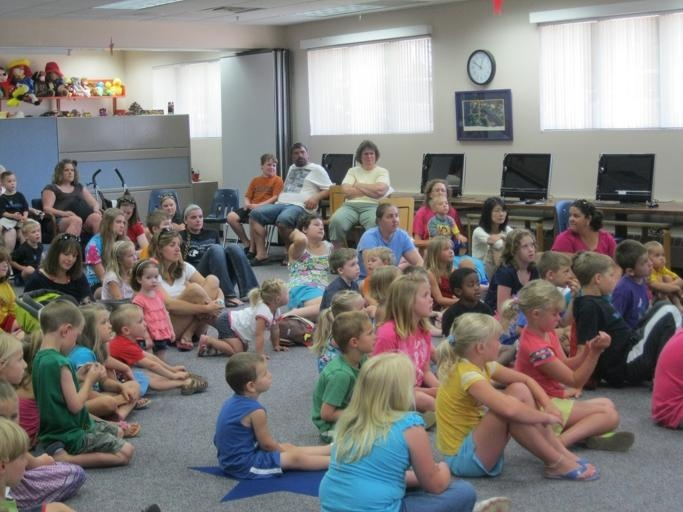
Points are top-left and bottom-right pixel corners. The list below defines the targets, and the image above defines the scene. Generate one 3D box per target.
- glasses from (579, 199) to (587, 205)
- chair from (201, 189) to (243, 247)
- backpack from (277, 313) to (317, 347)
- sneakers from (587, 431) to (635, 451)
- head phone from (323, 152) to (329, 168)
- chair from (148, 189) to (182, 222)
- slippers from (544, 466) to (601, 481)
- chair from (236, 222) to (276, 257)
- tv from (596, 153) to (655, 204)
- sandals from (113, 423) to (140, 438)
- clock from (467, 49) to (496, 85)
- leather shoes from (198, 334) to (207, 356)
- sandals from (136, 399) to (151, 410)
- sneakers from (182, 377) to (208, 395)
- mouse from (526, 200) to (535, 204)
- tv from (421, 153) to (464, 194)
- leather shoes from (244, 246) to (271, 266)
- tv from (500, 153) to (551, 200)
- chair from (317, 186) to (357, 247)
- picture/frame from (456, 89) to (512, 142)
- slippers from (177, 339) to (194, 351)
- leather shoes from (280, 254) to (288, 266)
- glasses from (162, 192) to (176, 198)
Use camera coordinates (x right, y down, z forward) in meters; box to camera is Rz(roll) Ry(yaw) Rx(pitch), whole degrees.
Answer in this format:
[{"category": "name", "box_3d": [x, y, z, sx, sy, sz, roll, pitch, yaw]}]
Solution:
[{"category": "glasses", "box_3d": [2.043, -0.456, 5.680, 0.095, 0.037, 0.087, -5, 8, 18]}, {"category": "chair", "box_3d": [-1.676, -0.527, 9.223, 0.630, 0.748, 0.568, -8, 9, -35]}, {"category": "backpack", "box_3d": [-0.368, 0.591, 5.371, 0.213, 0.169, 0.326, -3, 0, 7]}, {"category": "sneakers", "box_3d": [1.419, 0.971, 3.562, 0.248, 0.101, 0.088, 0, 0, 8]}, {"category": "head phone", "box_3d": [-0.225, -1.392, 9.722, 0.042, 0.163, 0.171, 6, -1, -37]}, {"category": "chair", "box_3d": [-2.389, -0.584, 8.900, 0.423, 0.489, 0.365, 22, 14, 35]}, {"category": "slippers", "box_3d": [1.117, 1.053, 3.233, 0.151, 0.037, 0.095, -5, 0, 10]}, {"category": "chair", "box_3d": [-1.123, -0.218, 8.816, 0.393, 0.473, 0.499, 0, 1, -24]}, {"category": "tv", "box_3d": [3.127, -0.846, 7.329, 0.520, 0.469, 0.191, 6, -2, 39]}, {"category": "sandals", "box_3d": [-1.218, 0.984, 3.833, 0.171, 0.046, 0.066, 8, 29, -8]}, {"category": "clock", "box_3d": [1.817, -2.446, 8.713, 0.399, 0.454, 0.065, 6, 14, 38]}, {"category": "leather shoes", "box_3d": [-1.072, 0.687, 5.172, 0.079, 0.176, 0.069, 4, 9, -8]}, {"category": "sandals", "box_3d": [-1.250, 0.928, 4.226, 0.099, 0.030, 0.041, -9, -2, 36]}, {"category": "sneakers", "box_3d": [-0.968, 0.852, 4.476, 0.075, 0.084, 0.186, 7, 12, 33]}, {"category": "mouse", "box_3d": [2.201, -0.636, 7.829, 0.080, 0.029, 0.059, 0, 0, 33]}, {"category": "tv", "box_3d": [1.294, -1.045, 8.425, 0.631, 0.641, 0.343, 7, 11, 38]}, {"category": "leather shoes", "box_3d": [-1.098, 0.011, 8.631, 0.409, 0.146, 0.145, 2, 0, -39]}, {"category": "tv", "box_3d": [2.230, -0.950, 8.032, 0.631, 0.594, 0.230, 11, 10, 35]}, {"category": "chair", "box_3d": [-0.101, -0.562, 8.723, 0.647, 0.852, 0.649, 0, 5, 1]}, {"category": "picture/frame", "box_3d": [1.884, -1.842, 8.718, 0.728, 0.619, 0.058, 2, 6, 35]}, {"category": "slippers", "box_3d": [-1.252, 0.706, 5.396, 0.180, 0.076, 0.063, 1, 15, 27]}, {"category": "leather shoes", "box_3d": [-0.718, 0.050, 8.503, 0.087, 0.117, 0.289, 0, -2, -4]}, {"category": "glasses", "box_3d": [-1.953, -0.691, 7.556, 0.128, 0.062, 0.161, -1, 2, -10]}]
